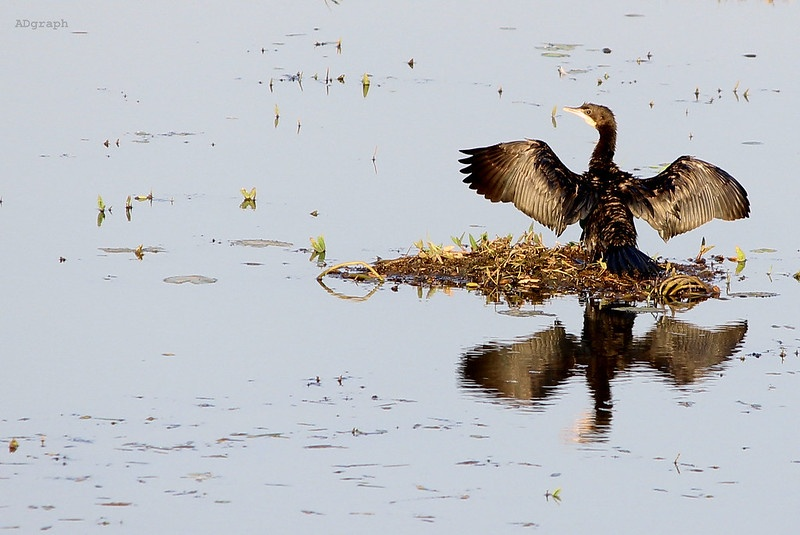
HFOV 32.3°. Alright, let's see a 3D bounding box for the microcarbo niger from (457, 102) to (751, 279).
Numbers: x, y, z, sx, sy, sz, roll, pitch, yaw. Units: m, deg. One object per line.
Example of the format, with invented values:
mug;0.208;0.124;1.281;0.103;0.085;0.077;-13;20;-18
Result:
microcarbo niger;2.673;-0.753;17.825;3.570;0.705;1.532;5;60;-5
